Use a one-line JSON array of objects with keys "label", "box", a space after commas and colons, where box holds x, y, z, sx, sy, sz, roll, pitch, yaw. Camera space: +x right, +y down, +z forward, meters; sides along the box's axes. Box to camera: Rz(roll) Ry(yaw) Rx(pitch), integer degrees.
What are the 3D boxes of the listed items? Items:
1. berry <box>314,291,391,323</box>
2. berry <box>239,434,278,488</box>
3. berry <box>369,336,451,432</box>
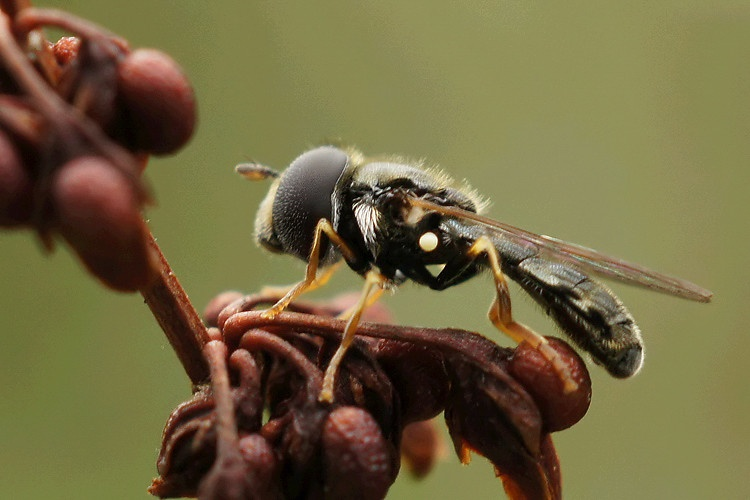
[{"label": "berry", "box": [-0.075, 0.214, 3.063, 0.172, 0.055, 0.134, 17, -10, 8]}, {"label": "berry", "box": [-0.297, 0.534, 2.167, 0.045, 0.130, 0.096, -20, -8, 39]}, {"label": "berry", "box": [0.117, 0.374, 2.351, 0.178, 0.245, 0.064, -2, -7, -14]}]
